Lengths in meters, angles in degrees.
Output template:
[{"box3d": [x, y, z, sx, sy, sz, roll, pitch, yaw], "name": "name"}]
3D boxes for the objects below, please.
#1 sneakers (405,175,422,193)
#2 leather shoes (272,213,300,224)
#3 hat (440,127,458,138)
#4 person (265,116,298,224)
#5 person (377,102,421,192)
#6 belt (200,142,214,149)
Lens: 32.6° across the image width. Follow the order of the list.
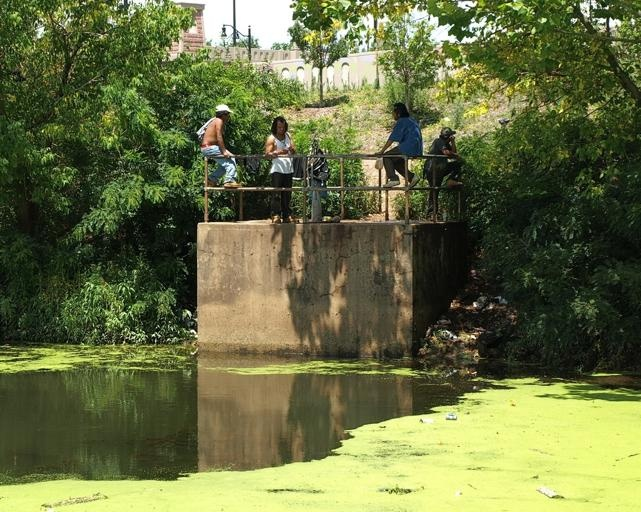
[{"box3d": [1.732, -1.334, 20.379, 0.204, 0.176, 0.514, 39, -1, 1], "name": "sneakers"}, {"box3d": [-0.649, -0.711, 20.850, 0.536, 0.250, 0.202, -1, 4, -3], "name": "leather shoes"}, {"box3d": [2.658, -2.561, 22.926, 0.296, 0.232, 0.521, 0, 13, 5], "name": "hat"}, {"box3d": [-0.749, -1.623, 20.753, 0.516, 1.945, 0.977, -2, 12, -2], "name": "person"}, {"box3d": [1.537, -2.041, 20.726, 0.780, 1.632, 1.613, -1, 13, 3], "name": "person"}, {"box3d": [-2.197, -2.110, 21.083, 0.292, 0.103, 0.124, 8, 16, 36], "name": "belt"}]
